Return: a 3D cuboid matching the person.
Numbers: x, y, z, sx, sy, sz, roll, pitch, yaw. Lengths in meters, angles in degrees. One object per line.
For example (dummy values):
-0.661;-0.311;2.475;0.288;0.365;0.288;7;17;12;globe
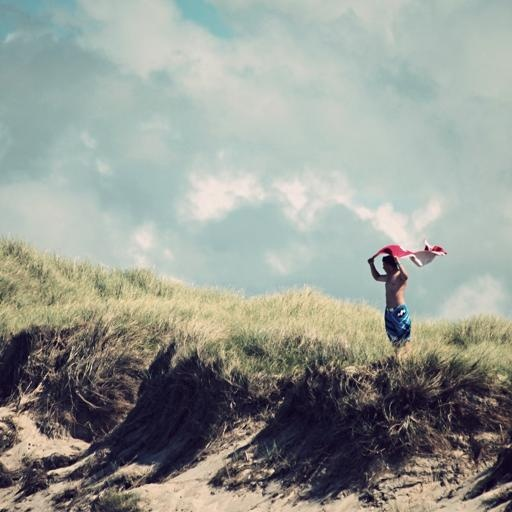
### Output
2.583;0.987;24.336;0.587;2.501;1.023;5;-16;-20;person
